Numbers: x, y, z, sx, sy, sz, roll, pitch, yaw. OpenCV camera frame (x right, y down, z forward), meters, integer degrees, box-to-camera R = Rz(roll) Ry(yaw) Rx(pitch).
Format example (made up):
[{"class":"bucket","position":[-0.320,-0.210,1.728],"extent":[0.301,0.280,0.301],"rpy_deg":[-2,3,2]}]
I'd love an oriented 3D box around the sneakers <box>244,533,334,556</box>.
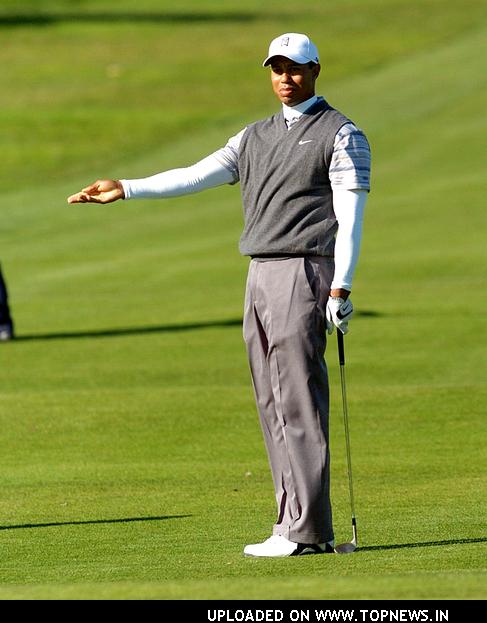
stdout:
[{"class":"sneakers","position":[0.218,1.076,6.406],"extent":[0.411,0.160,0.140],"rpy_deg":[2,-9,4]}]

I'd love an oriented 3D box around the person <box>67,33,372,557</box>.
[{"class":"person","position":[0.262,-0.092,6.459],"extent":[0.783,2.381,0.466],"rpy_deg":[-7,4,5]}]

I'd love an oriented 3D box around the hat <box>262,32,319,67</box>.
[{"class":"hat","position":[0.253,-1.219,6.481],"extent":[0.157,0.114,0.214],"rpy_deg":[2,11,24]}]

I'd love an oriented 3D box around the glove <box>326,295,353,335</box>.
[{"class":"glove","position":[0.434,0.010,6.353],"extent":[0.122,0.159,0.071],"rpy_deg":[1,3,-31]}]
